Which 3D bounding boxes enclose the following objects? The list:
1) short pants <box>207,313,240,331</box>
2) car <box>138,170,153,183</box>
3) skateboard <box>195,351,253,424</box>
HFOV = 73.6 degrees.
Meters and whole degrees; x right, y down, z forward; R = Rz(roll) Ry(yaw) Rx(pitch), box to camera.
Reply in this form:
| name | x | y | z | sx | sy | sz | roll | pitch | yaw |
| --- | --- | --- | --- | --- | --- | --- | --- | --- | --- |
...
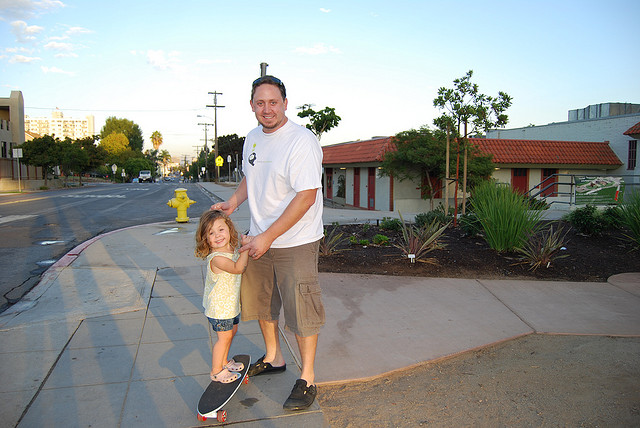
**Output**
| name | x | y | z | sx | sy | sz | roll | pitch | yaw |
| --- | --- | --- | --- | --- | --- | --- | --- | --- | --- |
| short pants | -0.937 | 1.017 | 4.240 | 0.264 | 0.200 | 0.157 | 2 | -3 | -17 |
| car | -31.625 | -6.969 | 78.528 | 1.629 | 1.535 | 3.049 | 0 | -4 | -9 |
| skateboard | -0.906 | 1.687 | 4.194 | 0.301 | 0.396 | 0.765 | 2 | 8 | 23 |
